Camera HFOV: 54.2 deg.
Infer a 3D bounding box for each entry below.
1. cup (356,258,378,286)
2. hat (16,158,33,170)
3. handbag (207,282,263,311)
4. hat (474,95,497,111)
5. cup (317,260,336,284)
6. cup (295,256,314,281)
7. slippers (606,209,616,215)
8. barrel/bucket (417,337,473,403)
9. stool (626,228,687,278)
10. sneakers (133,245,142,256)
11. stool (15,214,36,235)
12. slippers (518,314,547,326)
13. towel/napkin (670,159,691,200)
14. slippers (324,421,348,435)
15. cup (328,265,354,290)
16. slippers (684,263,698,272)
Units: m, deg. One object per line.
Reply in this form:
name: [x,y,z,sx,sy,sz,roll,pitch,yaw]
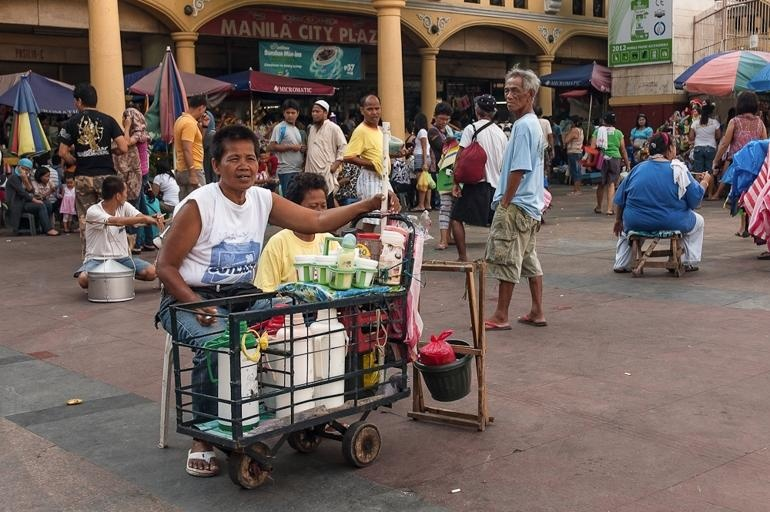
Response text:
cup: [-0.138,0.111,5.436,0.193,0.160,0.183,1,8,0]
hat: [-7.512,-1.862,15.662,0.282,0.274,0.364,3,24,-27]
handbag: [-1.098,0.288,5.593,0.302,0.219,0.124,-16,-10,-29]
hat: [1.398,-2.154,10.378,0.198,0.155,0.270,-4,41,-6]
cup: [-0.423,0.110,5.336,0.176,0.167,0.160,1,0,1]
cup: [-0.574,0.088,5.409,0.174,0.154,0.175,-1,3,0]
slippers: [5.132,-1.001,17.026,0.144,0.097,0.435,0,4,17]
barrel/bucket: [0.483,0.875,5.954,0.403,0.280,0.387,-19,15,5]
stool: [3.945,-0.065,10.755,0.767,0.575,0.736,2,6,33]
sneakers: [-4.248,-0.094,12.843,0.217,0.143,0.072,3,4,42]
stool: [-7.442,-0.668,15.702,0.469,0.395,0.446,1,-2,-1]
slippers: [1.642,0.688,8.343,0.127,0.114,0.284,-6,10,-38]
towel/napkin: [4.086,-1.063,10.368,0.256,0.524,0.322,3,15,20]
slippers: [-0.348,1.275,5.553,0.174,0.077,0.227,1,-3,6]
cup: [-0.303,0.147,5.371,0.170,0.117,0.169,1,5,0]
slippers: [4.389,0.147,10.655,0.245,0.089,0.078,-3,27,-4]
